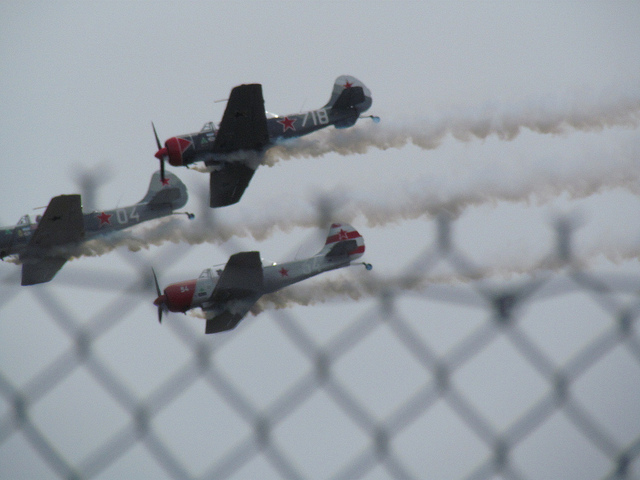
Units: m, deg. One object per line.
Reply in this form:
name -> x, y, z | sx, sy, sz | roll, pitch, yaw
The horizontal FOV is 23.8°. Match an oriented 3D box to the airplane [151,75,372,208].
airplane -> -1.343, -2.712, 35.741 | 5.281, 1.789, 6.260 | -13, -15, -12

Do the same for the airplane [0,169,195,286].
airplane -> -5.280, -0.409, 35.844 | 4.098, 1.358, 4.442 | -11, -34, -14

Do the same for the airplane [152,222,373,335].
airplane -> -1.558, 0.949, 35.603 | 3.010, 1.093, 3.646 | -12, -34, -11
